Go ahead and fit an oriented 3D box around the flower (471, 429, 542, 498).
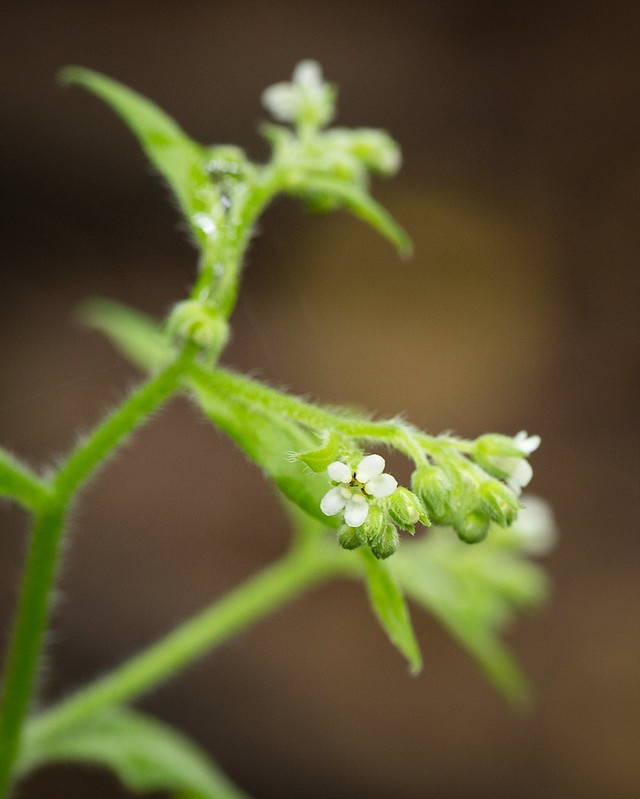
[{"bbox_3d":[0.176,0.058,0.802,0.054,0.047,0.059,6,-2,36],"label":"flower"}]
